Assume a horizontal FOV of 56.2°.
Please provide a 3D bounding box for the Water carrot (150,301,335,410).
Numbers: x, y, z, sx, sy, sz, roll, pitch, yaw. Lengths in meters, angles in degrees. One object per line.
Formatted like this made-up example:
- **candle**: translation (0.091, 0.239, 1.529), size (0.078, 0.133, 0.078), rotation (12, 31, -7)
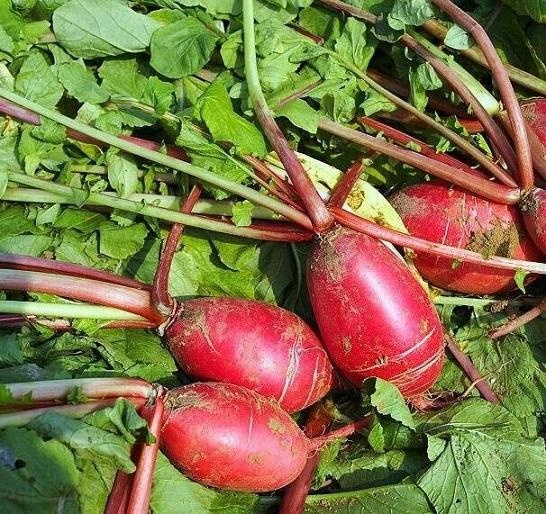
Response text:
- **Water carrot**: translation (-0.065, 0.215, 1.291), size (0.472, 0.218, 0.206), rotation (13, 44, 3)

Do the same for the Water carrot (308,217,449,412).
- **Water carrot**: translation (0.236, 0.135, 1.291), size (0.292, 0.240, 0.464), rotation (-36, 82, -8)

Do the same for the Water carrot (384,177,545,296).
- **Water carrot**: translation (0.497, -0.078, 1.414), size (0.442, 0.227, 0.234), rotation (22, 44, 8)
